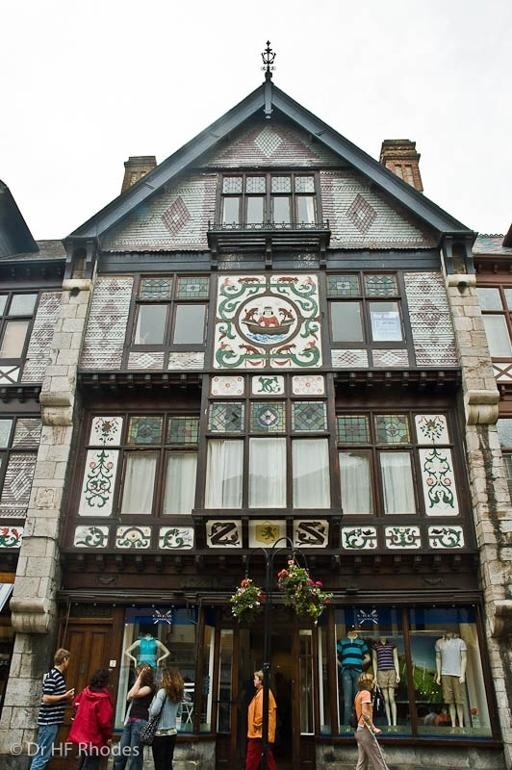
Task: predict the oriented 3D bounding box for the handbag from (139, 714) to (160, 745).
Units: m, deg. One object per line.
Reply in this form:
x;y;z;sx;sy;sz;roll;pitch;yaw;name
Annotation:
-1.152;3.703;6.186;0.156;0.281;0.291;11;-32;-16;handbag

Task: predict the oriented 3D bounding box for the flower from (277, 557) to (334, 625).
0.746;3.332;9.527;0.724;0.902;0.770;-2;-31;5;flower

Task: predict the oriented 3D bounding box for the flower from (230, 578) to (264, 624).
-0.169;3.598;9.788;0.561;0.721;0.933;2;-31;-2;flower

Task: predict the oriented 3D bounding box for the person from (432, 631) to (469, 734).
3.564;5.366;10.507;0.573;1.560;0.177;-7;-32;13;person
